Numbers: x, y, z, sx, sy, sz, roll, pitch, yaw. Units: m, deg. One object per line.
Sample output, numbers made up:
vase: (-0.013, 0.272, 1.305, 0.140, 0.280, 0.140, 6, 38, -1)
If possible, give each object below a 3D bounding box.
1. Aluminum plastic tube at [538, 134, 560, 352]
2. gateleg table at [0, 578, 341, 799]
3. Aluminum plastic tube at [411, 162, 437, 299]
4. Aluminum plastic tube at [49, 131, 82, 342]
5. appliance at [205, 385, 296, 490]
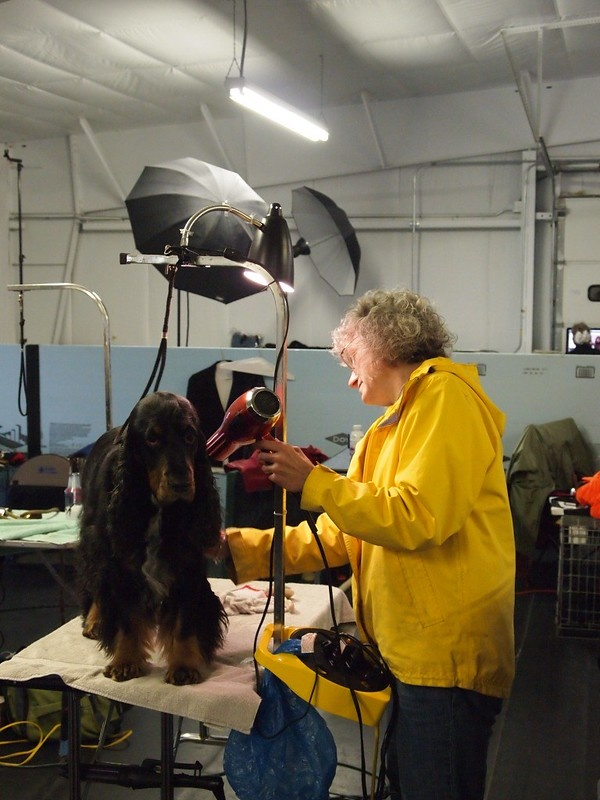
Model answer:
Aluminum plastic tube: (2.506, -1.539, 8.109, 0.239, 2.060, 0.342, 1, 5, 16)
gateleg table: (-0.353, 0.593, 1.931, 0.442, 0.275, 0.590, 2, 3, 13)
Aluminum plastic tube: (1.289, -1.834, 8.651, 0.160, 1.337, 0.209, 0, 4, 7)
Aluminum plastic tube: (-2.724, -1.785, 9.379, 0.277, 2.609, 0.113, 7, 6, 8)
appliance: (-0.123, 0.061, 1.704, 0.206, 0.077, 0.094, -34, -24, 33)
